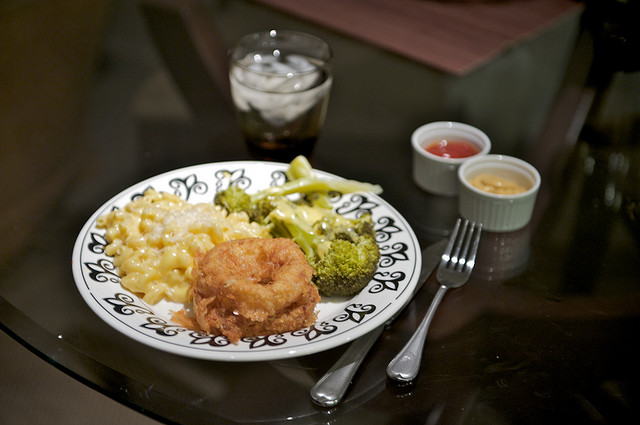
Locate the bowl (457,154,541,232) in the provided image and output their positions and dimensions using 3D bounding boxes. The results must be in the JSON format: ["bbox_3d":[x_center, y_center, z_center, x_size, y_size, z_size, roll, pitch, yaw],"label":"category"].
[{"bbox_3d":[1.043,-0.072,3.021,0.410,0.416,0.261,15,88,1],"label":"bowl"}]

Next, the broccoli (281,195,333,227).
[{"bbox_3d":[-0.087,-0.056,3.033,0.186,0.249,0.079,7,76,56],"label":"broccoli"}]

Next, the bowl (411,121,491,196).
[{"bbox_3d":[0.807,-0.327,3.230,0.457,0.291,0.451,-1,38,1],"label":"bowl"}]

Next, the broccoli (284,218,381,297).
[{"bbox_3d":[0.058,0.231,2.663,0.281,0.143,0.376,-27,48,-36],"label":"broccoli"}]
